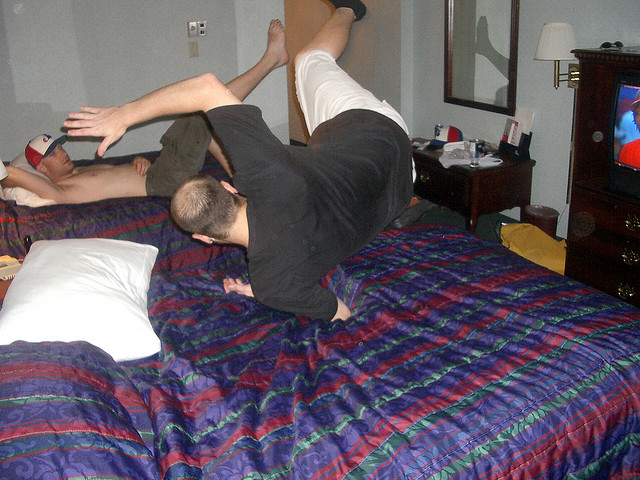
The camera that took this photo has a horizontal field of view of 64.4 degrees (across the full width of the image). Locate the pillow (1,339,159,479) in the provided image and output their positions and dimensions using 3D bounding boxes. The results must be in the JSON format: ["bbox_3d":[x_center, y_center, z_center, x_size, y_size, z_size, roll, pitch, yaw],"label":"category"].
[{"bbox_3d":[-0.919,0.641,1.820,0.435,0.289,0.669,-16,26,-36],"label":"pillow"}]

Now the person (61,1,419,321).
[{"bbox_3d":[-0.252,-0.425,2.458,1.301,1.445,0.593,-19,20,-3],"label":"person"}]

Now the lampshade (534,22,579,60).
[{"bbox_3d":[1.646,-1.386,3.611,0.270,0.279,0.288,13,43,31],"label":"lampshade"}]
